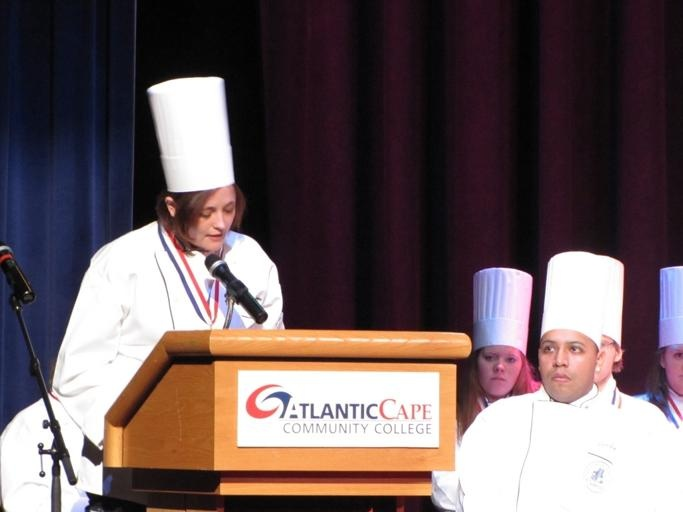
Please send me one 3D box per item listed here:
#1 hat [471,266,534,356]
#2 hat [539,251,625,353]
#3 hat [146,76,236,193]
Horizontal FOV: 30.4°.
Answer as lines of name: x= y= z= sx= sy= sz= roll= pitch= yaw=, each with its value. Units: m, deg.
hat: x=0.663 y=0.234 z=5.112 sx=0.258 sy=0.339 sz=0.300 roll=14 pitch=-16 yaw=-42
hat: x=0.905 y=0.165 z=4.708 sx=0.280 sy=0.378 sz=0.355 roll=7 pitch=-7 yaw=14
hat: x=-0.511 y=-0.414 z=4.315 sx=0.263 sy=0.388 sz=0.126 roll=-5 pitch=9 yaw=-8
